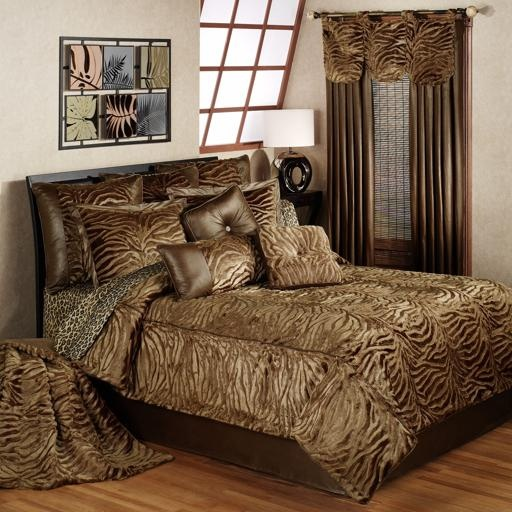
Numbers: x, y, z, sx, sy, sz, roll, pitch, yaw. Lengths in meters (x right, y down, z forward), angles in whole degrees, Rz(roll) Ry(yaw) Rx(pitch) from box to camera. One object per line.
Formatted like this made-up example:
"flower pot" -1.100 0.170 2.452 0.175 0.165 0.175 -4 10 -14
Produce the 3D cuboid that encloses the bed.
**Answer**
"bed" 0.036 0.170 2.694 2.077 1.210 1.605 12 18 37

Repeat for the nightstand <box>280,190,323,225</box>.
"nightstand" 0.414 -0.472 4.702 0.229 0.362 0.426 15 21 41

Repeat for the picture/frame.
"picture/frame" -0.990 -1.172 3.583 0.882 0.666 0.018 4 7 17
